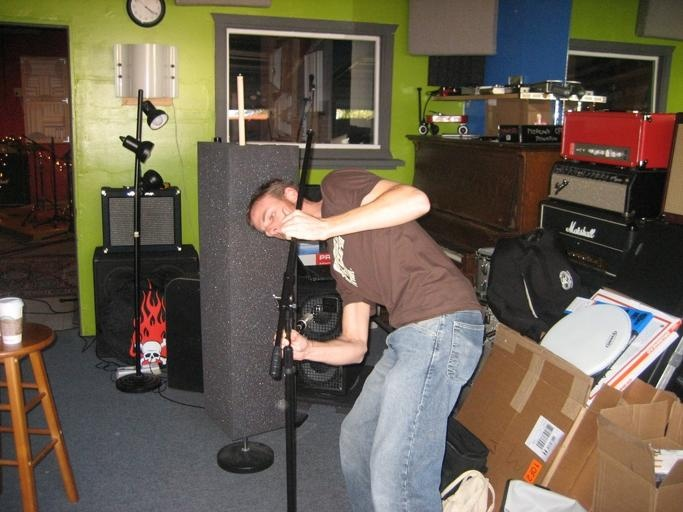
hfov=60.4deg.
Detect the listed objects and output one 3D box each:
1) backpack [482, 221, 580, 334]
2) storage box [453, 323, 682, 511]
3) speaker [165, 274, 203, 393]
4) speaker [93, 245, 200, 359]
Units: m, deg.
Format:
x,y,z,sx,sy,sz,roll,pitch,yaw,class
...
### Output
x,y,z,sx,sy,sz,roll,pitch,yaw,class
1.224,0.190,3.713,0.549,0.584,0.358,-5,16,-14,backpack
1.126,0.896,3.214,0.255,0.932,0.946,15,35,-14,storage box
-1.106,0.561,4.173,0.304,0.816,0.136,3,16,17,speaker
-1.468,0.359,4.393,0.832,0.876,0.462,0,-4,-16,speaker
